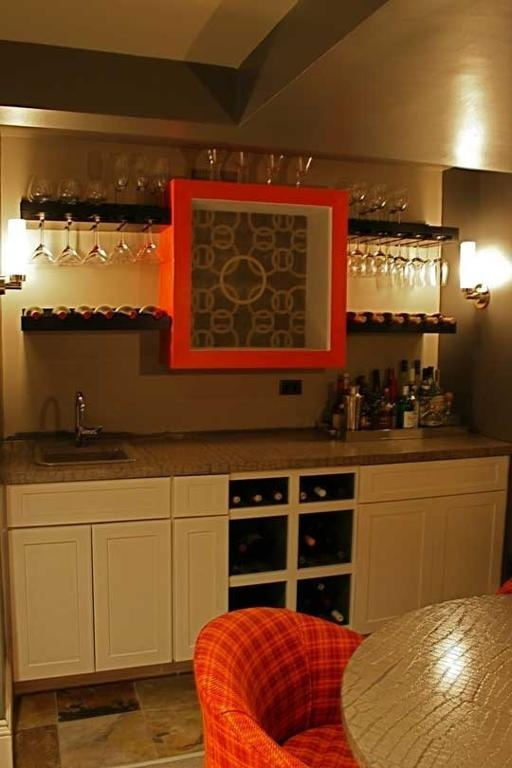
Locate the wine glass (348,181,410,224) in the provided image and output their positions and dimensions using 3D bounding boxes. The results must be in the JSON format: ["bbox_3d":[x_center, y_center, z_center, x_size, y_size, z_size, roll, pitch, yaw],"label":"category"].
[{"bbox_3d":[0.565,-0.818,3.058,0.232,0.199,0.267,0,2,-7],"label":"wine glass"}]

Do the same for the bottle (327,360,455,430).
[{"bbox_3d":[0.690,0.063,3.217,0.676,0.347,0.346,-1,8,-19],"label":"bottle"}]

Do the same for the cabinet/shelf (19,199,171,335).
[{"bbox_3d":[-0.705,-0.500,2.692,0.590,0.479,0.229,-1,10,-13],"label":"cabinet/shelf"}]

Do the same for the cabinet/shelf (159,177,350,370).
[{"bbox_3d":[-0.032,-0.490,2.813,0.887,0.842,0.294,0,-2,-15],"label":"cabinet/shelf"}]

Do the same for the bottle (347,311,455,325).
[{"bbox_3d":[0.750,-0.324,3.039,0.467,0.080,0.048,-4,12,-17],"label":"bottle"}]

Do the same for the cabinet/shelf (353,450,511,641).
[{"bbox_3d":[0.654,0.609,2.493,0.801,0.755,0.404,-1,2,-20],"label":"cabinet/shelf"}]

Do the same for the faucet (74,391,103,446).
[{"bbox_3d":[-0.725,0.144,2.755,0.101,0.229,0.261,0,8,-13],"label":"faucet"}]

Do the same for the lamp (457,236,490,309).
[{"bbox_3d":[1.069,-0.542,3.197,0.176,0.335,0.149,-2,9,-28],"label":"lamp"}]

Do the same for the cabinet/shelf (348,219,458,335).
[{"bbox_3d":[0.718,-0.535,3.180,0.638,0.518,0.228,0,1,-23],"label":"cabinet/shelf"}]
